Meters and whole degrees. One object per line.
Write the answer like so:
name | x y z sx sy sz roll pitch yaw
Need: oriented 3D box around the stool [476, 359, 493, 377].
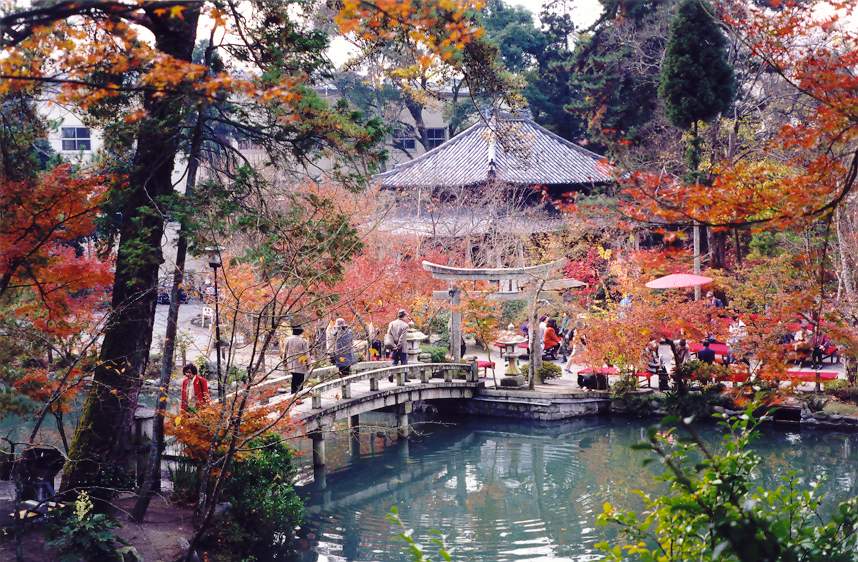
stool | 1.457 2.224 26.660 0.451 0.535 0.475 1 -7 -4

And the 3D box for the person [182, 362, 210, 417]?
person | -4.099 1.919 18.219 0.577 1.058 0.422 -9 -35 -2

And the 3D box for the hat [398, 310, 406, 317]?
hat | -0.611 0.698 23.395 0.159 0.121 0.154 -7 -32 5

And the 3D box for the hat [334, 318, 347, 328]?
hat | -1.843 0.882 21.695 0.286 0.244 0.378 0 -8 -10
